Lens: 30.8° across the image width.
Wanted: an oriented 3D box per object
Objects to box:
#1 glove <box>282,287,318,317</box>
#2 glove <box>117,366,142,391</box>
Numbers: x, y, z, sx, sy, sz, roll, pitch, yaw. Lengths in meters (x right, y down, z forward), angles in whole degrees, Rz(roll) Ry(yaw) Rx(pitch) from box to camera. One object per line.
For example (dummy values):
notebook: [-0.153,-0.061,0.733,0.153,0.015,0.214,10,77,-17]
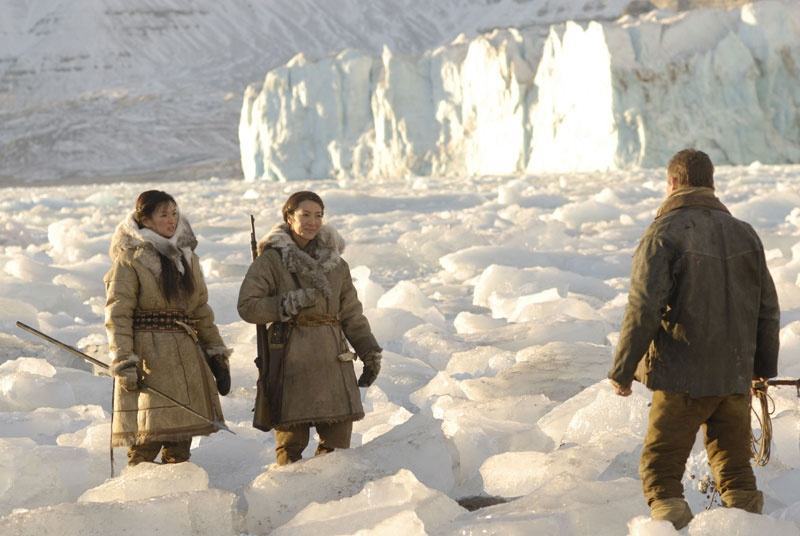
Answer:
glove: [-2.058,0.664,29.339,0.777,0.430,0.258,-20,-4,4]
glove: [-5.422,2.210,29.069,0.446,0.441,0.530,5,-14,-32]
